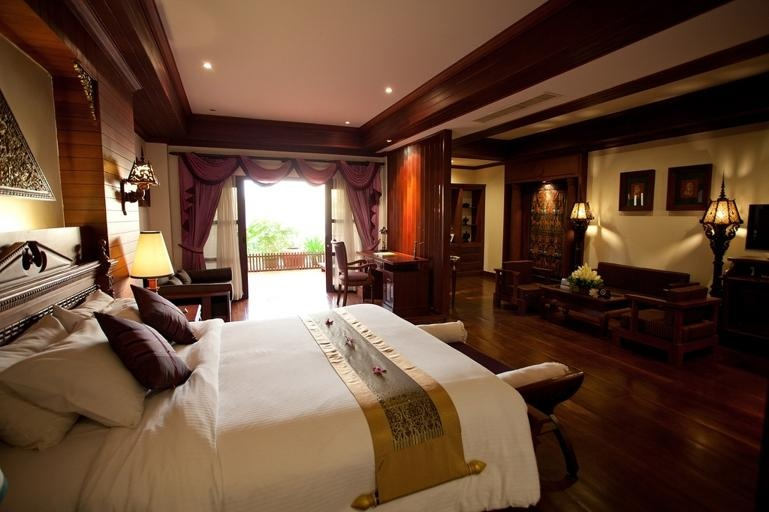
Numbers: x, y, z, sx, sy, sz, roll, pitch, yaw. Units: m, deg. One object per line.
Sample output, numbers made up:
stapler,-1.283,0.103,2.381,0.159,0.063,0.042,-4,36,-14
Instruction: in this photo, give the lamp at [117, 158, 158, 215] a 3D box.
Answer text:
lamp,-2.812,-0.787,5.328,0.344,0.703,0.245,-1,4,-16

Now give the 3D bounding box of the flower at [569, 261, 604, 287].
flower,3.031,0.225,6.996,0.406,0.380,0.404,4,8,33

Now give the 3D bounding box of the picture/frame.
picture/frame,4.470,-1.060,7.501,0.157,0.712,1.407,-1,5,-28

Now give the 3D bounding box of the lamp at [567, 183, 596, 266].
lamp,3.586,-0.503,8.532,0.419,1.595,0.559,3,5,22

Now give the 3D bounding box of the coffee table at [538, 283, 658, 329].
coffee table,3.091,0.565,6.963,0.721,0.388,0.986,-7,11,-27

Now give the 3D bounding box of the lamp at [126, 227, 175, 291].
lamp,-2.658,0.091,5.285,0.473,0.711,0.457,-3,16,-30

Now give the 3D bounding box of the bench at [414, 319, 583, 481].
bench,1.148,1.120,4.393,1.189,1.047,1.786,-1,7,-21
